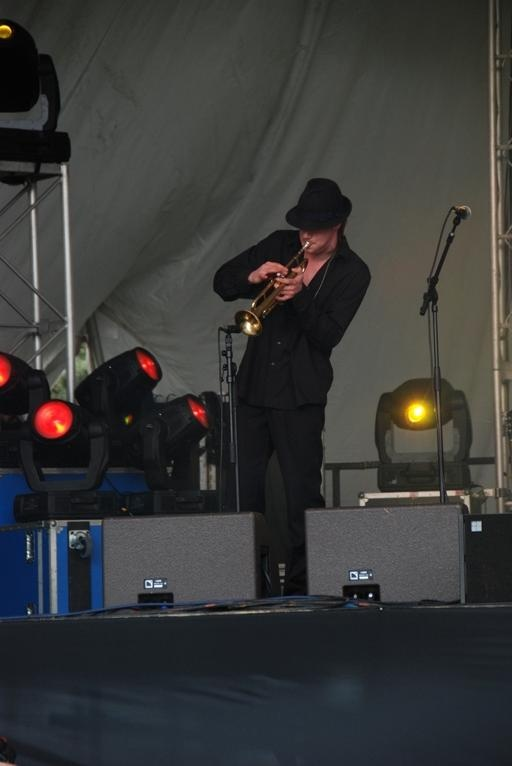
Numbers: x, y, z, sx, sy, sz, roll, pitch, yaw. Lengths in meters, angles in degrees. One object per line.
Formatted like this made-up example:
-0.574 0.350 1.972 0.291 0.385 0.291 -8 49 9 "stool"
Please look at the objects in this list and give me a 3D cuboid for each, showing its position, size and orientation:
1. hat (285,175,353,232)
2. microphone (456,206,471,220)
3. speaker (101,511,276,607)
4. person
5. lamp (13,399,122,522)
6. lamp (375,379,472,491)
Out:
0.217 -0.609 3.861 0.186 0.193 0.221 -13 -2 35 "hat"
0.850 -0.694 4.475 0.051 0.071 0.202 1 3 15 "microphone"
-0.190 0.528 3.373 0.446 0.307 0.360 -2 -6 6 "speaker"
0.157 0.033 4.031 0.556 1.504 0.506 -3 -4 41 "person"
-0.712 0.296 4.058 0.486 0.478 0.282 1 -20 -3 "lamp"
1.016 0.311 6.562 0.634 0.660 0.469 0 6 9 "lamp"
